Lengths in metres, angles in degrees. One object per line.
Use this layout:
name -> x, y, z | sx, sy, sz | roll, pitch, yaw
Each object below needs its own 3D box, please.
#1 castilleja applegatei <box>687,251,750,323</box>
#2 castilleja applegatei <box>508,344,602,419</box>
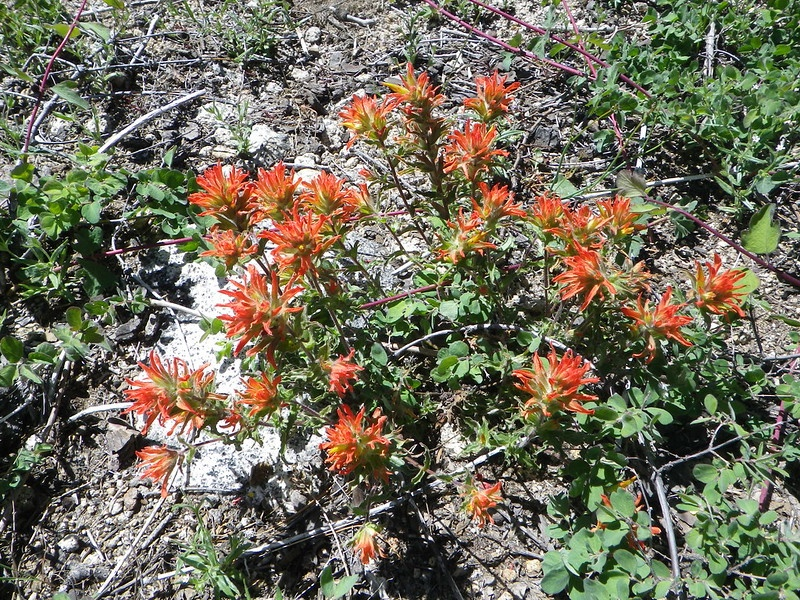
castilleja applegatei -> 1.357, -0.043, 2.829 | 0.225, 0.139, 0.345 | -21, -55, 12
castilleja applegatei -> 0.621, 0.364, 2.776 | 0.348, 0.320, 0.246 | 4, -44, -32
